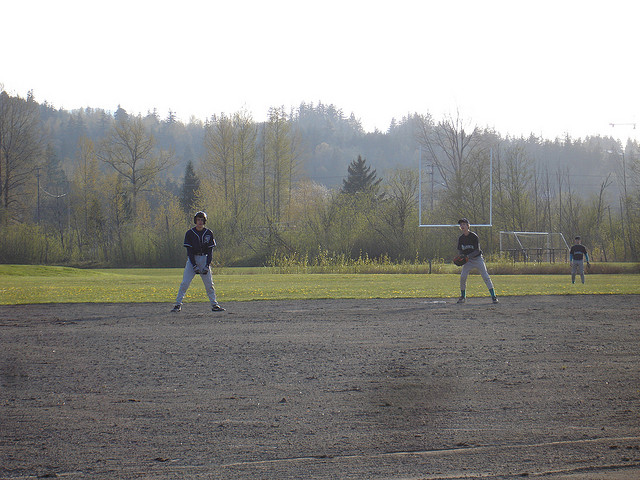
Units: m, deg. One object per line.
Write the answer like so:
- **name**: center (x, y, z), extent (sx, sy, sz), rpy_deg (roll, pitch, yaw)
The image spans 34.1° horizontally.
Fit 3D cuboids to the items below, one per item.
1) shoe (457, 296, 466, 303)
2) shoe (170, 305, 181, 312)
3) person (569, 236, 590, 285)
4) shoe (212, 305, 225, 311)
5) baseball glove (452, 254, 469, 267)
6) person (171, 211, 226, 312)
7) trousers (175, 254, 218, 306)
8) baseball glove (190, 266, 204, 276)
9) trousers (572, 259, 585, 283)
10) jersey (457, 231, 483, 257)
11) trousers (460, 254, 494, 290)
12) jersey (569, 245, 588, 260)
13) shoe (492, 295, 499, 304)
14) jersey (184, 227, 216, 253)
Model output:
- **shoe**: center (4.683, 1.926, 34.280), extent (0.278, 0.202, 0.600), rpy_deg (0, -2, 6)
- **shoe**: center (-4.402, 2.102, 32.422), extent (0.333, 0.216, 0.468), rpy_deg (0, -2, -9)
- **person**: center (10.550, 0.753, 42.404), extent (0.874, 2.281, 0.473), rpy_deg (2, 29, 15)
- **shoe**: center (-3.089, 2.085, 32.383), extent (0.349, 0.177, 0.301), rpy_deg (0, -2, 0)
- **baseball glove**: center (4.677, 0.648, 34.167), extent (0.400, 0.301, 0.146), rpy_deg (-1, -26, -27)
- **person**: center (-3.634, 0.672, 32.039), extent (1.339, 3.053, 1.025), rpy_deg (0, -2, 5)
- **trousers**: center (-3.755, 1.079, 32.571), extent (1.611, 0.627, 3.143), rpy_deg (1, -34, -9)
- **baseball glove**: center (-3.718, 0.941, 32.024), extent (0.312, 0.123, 0.244), rpy_deg (16, -6, 16)
- **trousers**: center (10.361, 1.204, 41.942), extent (0.432, 0.901, 0.886), rpy_deg (0, -2, 11)
- **jersey**: center (5.292, 0.128, 36.923), extent (1.060, 1.112, 0.611), rpy_deg (-5, -21, 23)
- **trousers**: center (5.151, 1.036, 34.412), extent (1.272, 0.516, 2.278), rpy_deg (-1, 33, 8)
- **jersey**: center (10.734, 0.513, 43.363), extent (0.793, 0.691, 0.278), rpy_deg (0, 2, 15)
- **shoe**: center (5.770, 1.964, 34.096), extent (0.118, 0.269, 0.366), rpy_deg (-1, -9, 2)
- **jersey**: center (-3.794, -0.007, 33.903), extent (1.279, 1.113, 0.475), rpy_deg (0, 4, 3)
